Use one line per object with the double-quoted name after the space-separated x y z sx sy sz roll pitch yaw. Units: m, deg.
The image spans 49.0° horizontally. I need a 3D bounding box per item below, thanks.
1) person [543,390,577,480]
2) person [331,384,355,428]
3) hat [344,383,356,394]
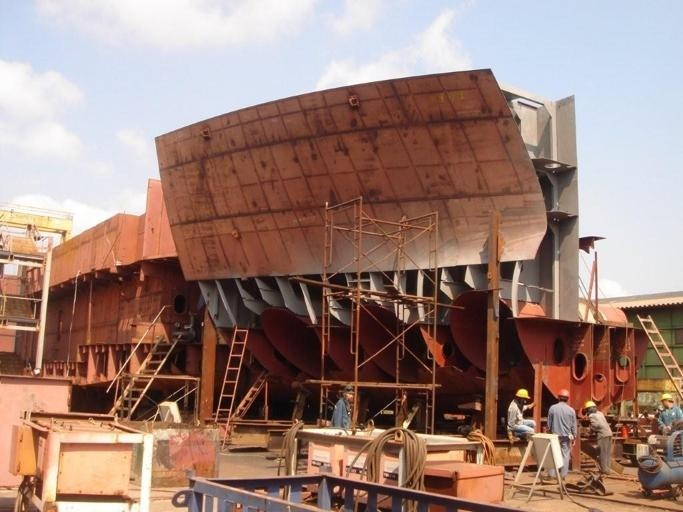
5.185 4.092 17.369 0.682 1.987 0.808 2 -14 -7 "person"
0.007 3.754 18.667 0.540 1.025 1.038 0 -14 0 "person"
0.183 3.388 19.051 0.256 0.268 0.274 7 -8 -35 "hat"
